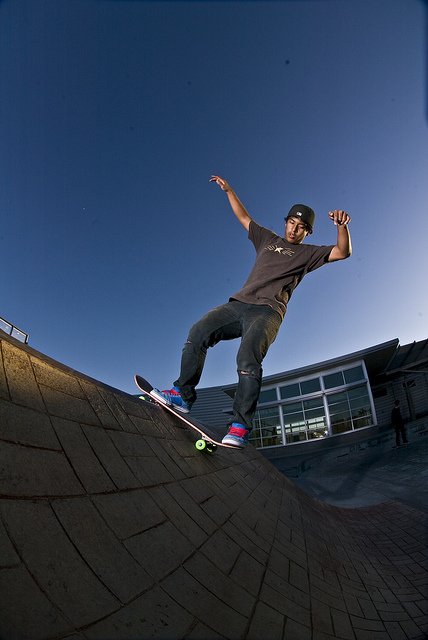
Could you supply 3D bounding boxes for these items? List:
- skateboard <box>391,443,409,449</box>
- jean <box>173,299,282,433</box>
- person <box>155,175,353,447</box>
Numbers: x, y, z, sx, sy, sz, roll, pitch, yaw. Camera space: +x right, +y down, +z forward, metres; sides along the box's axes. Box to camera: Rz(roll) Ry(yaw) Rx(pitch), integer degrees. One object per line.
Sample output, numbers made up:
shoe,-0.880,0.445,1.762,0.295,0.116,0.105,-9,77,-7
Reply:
skateboard,4.736,3.207,9.795,0.383,0.121,0.122,-23,-54,20
jean,0.071,0.178,3.029,0.569,1.499,0.512,15,-37,3
person,0.263,-0.120,3.097,1.189,2.179,0.703,16,-17,24
